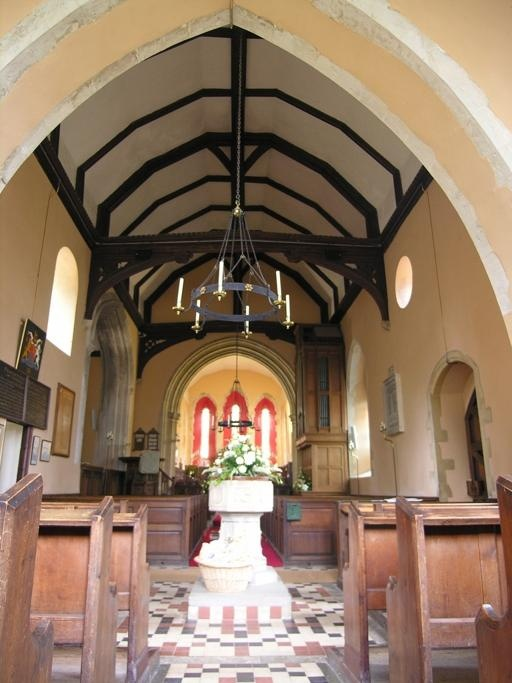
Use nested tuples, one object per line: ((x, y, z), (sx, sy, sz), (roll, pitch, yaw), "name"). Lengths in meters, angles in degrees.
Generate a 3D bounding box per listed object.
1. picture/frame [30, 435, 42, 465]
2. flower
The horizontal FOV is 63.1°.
((-3.211, 1.644, 6.058), (0.084, 0.420, 0.384), (5, -18, -19), "picture/frame")
((-0.200, 1.510, 5.087), (0.618, 0.511, 0.668), (-5, -9, 25), "flower")
